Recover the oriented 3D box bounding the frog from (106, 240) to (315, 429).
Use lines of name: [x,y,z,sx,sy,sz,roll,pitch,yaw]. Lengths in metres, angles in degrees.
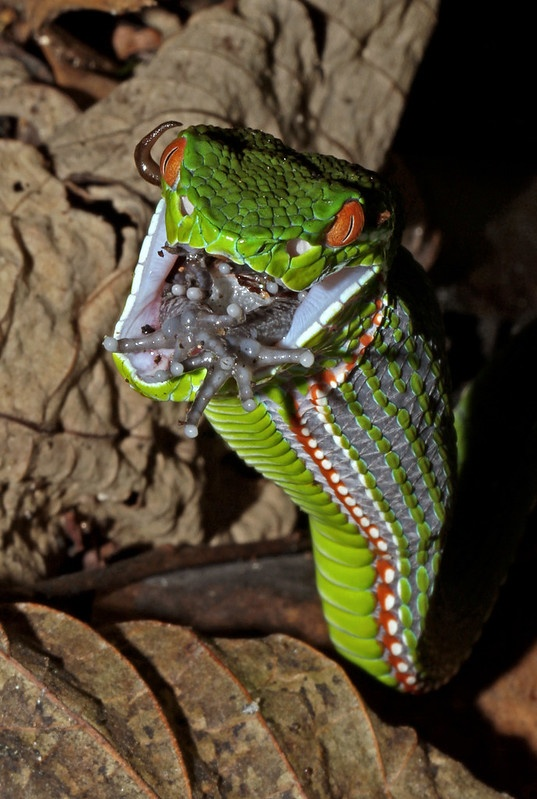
frog: [-0.060,-0.134,1.597,0.518,0.316,0.329,4,31,9]
